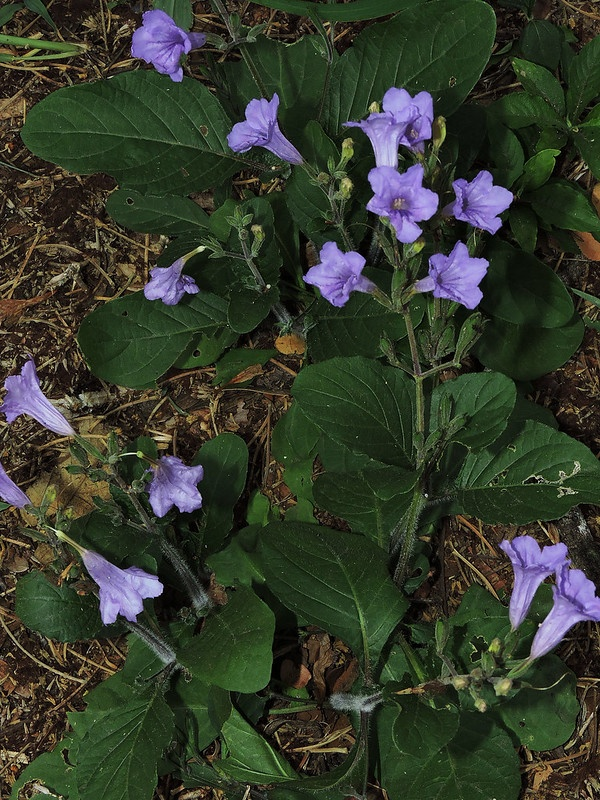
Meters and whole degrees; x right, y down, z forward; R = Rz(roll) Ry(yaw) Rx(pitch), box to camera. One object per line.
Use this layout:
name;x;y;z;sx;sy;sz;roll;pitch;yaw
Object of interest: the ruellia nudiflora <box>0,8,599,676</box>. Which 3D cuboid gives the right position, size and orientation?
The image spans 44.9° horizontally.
ruellia nudiflora;-0.024;-0.397;2.451;2.103;0.581;1.843;19;91;4
